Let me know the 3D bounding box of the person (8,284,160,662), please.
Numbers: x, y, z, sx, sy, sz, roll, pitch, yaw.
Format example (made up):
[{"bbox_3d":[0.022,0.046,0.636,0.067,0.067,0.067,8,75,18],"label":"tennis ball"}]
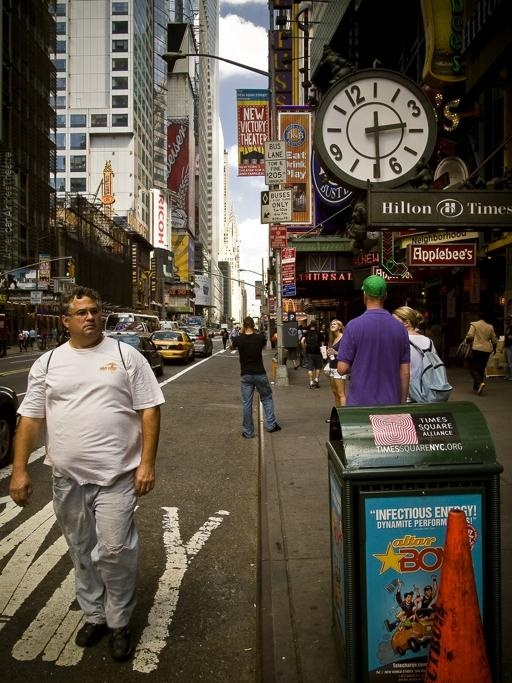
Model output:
[{"bbox_3d":[-0.821,0.627,3.347,0.752,1.797,0.447,-3,4,-8],"label":"person"}]

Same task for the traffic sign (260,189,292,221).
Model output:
[{"bbox_3d":[0.447,-3.325,16.184,0.629,0.797,1.094,-5,5,-25],"label":"traffic sign"}]

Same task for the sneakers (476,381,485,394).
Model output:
[{"bbox_3d":[4.217,0.862,12.843,0.075,0.231,0.092,11,1,-18],"label":"sneakers"}]

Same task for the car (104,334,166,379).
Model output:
[{"bbox_3d":[-3.532,0.205,20.412,1.480,1.341,3.780,0,3,4],"label":"car"}]

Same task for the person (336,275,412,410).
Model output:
[{"bbox_3d":[0.766,0.135,4.384,0.390,1.334,0.393,-2,33,4],"label":"person"}]

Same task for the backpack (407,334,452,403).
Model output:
[{"bbox_3d":[1.198,0.215,4.758,0.292,0.476,0.282,-2,-1,-44],"label":"backpack"}]

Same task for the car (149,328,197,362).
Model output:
[{"bbox_3d":[-3.487,0.128,28.660,1.191,1.039,3.012,0,6,2],"label":"car"}]
